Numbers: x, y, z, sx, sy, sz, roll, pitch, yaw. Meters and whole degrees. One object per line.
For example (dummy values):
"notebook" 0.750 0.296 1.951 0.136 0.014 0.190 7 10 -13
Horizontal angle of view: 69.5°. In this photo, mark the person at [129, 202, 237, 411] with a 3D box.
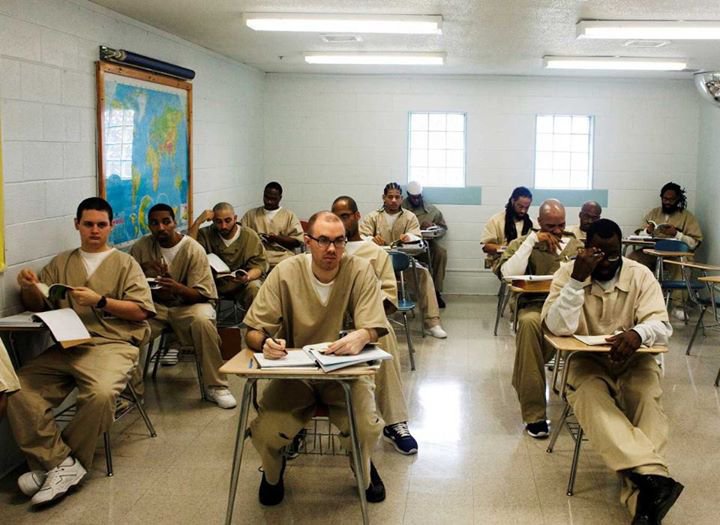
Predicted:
"person" -1.673 0.324 4.542 1.086 1.609 0.957 -4 15 -1

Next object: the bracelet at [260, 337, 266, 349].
"bracelet" -0.522 0.433 2.807 0.054 0.050 0.052 4 -4 -15

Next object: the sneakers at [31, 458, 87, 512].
"sneakers" -1.808 1.323 3.115 0.141 0.147 0.352 -6 7 15

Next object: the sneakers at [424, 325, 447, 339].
"sneakers" 0.926 0.832 6.252 0.288 0.111 0.119 2 4 44

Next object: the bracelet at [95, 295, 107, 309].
"bracelet" -1.777 0.275 3.546 0.060 0.088 0.083 21 7 -22

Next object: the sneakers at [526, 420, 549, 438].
"sneakers" 1.343 1.245 3.866 0.085 0.080 0.194 0 -6 3

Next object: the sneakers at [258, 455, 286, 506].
"sneakers" -0.584 1.374 3.216 0.118 0.223 0.339 1 -9 2

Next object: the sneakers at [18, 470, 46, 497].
"sneakers" -2.009 1.324 3.179 0.091 0.097 0.207 -11 11 -10

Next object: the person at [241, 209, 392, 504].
"person" -0.244 0.580 2.975 0.808 1.731 0.618 -2 9 -7

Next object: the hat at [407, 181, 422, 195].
"hat" 0.839 -1.118 7.833 0.170 0.175 0.213 -10 -1 -11

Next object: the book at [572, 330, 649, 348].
"book" 1.462 0.463 3.181 0.232 0.042 0.220 0 8 5

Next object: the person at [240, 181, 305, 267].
"person" -1.188 -0.467 6.802 0.953 1.062 0.772 3 3 -1

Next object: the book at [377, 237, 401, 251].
"book" 0.350 -0.216 6.081 0.312 0.090 0.294 1 0 12

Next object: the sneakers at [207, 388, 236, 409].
"sneakers" -1.192 1.137 4.402 0.297 0.113 0.118 4 6 28

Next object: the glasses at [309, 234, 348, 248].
"glasses" -0.183 -0.119 2.914 0.197 0.064 0.095 -1 8 -3

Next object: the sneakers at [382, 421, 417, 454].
"sneakers" 0.290 1.252 3.711 0.118 0.136 0.326 -3 -1 -29

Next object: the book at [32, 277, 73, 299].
"book" -2.013 0.156 3.401 0.215 0.065 0.152 4 -37 -18

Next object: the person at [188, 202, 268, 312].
"person" -1.450 -0.007 5.593 0.871 1.209 0.734 -4 20 -5

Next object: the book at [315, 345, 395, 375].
"book" -0.053 0.482 2.678 0.374 0.049 0.261 -3 8 -19

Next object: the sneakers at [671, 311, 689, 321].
"sneakers" 4.397 0.713 7.066 0.165 0.060 0.165 -1 6 -5

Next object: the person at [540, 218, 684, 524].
"person" 1.492 0.585 3.146 0.755 1.663 0.991 3 9 22
